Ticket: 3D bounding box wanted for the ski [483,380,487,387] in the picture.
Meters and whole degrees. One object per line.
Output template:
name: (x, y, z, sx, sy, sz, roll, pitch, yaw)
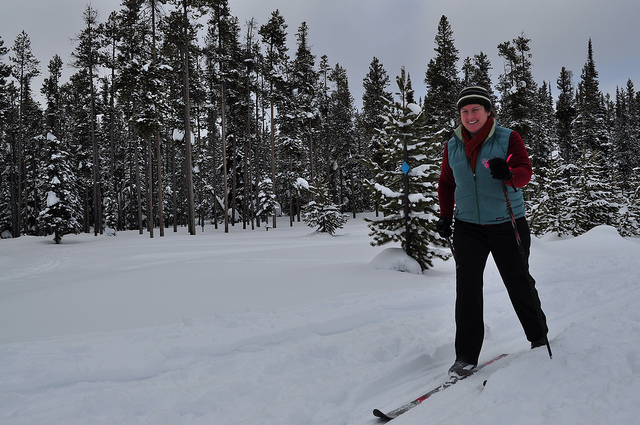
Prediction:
ski: (4.081, 4.227, 12.348, 0.007, 0.165, 0.042, 24, -1, -33)
